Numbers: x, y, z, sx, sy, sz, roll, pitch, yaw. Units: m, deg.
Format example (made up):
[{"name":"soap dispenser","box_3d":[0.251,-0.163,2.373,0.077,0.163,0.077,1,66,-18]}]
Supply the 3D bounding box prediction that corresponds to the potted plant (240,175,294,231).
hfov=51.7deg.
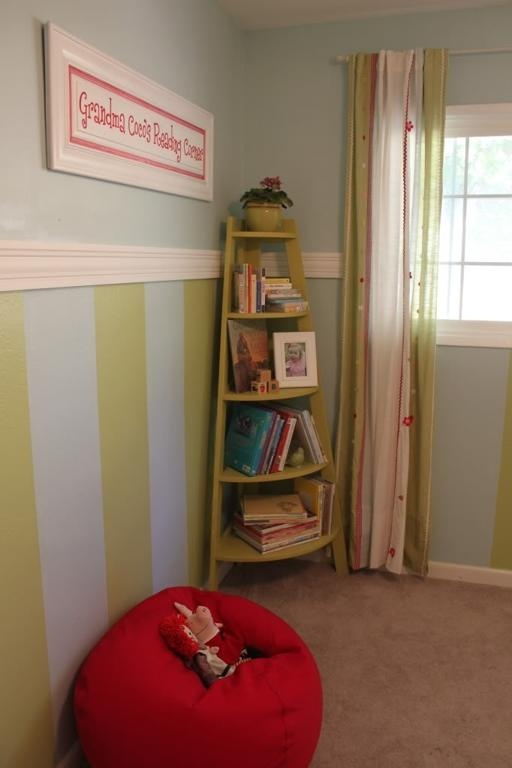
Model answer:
[{"name":"potted plant","box_3d":[0.037,-0.744,2.223,0.181,0.235,0.220,-9,18,-26]}]

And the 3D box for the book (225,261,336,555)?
[{"name":"book","box_3d":[0.102,0.094,2.323,0.511,1.161,0.446,0,6,-13]}]

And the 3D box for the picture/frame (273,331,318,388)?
[{"name":"picture/frame","box_3d":[0.168,-0.090,2.288,0.176,0.030,0.287,-2,56,1]}]
